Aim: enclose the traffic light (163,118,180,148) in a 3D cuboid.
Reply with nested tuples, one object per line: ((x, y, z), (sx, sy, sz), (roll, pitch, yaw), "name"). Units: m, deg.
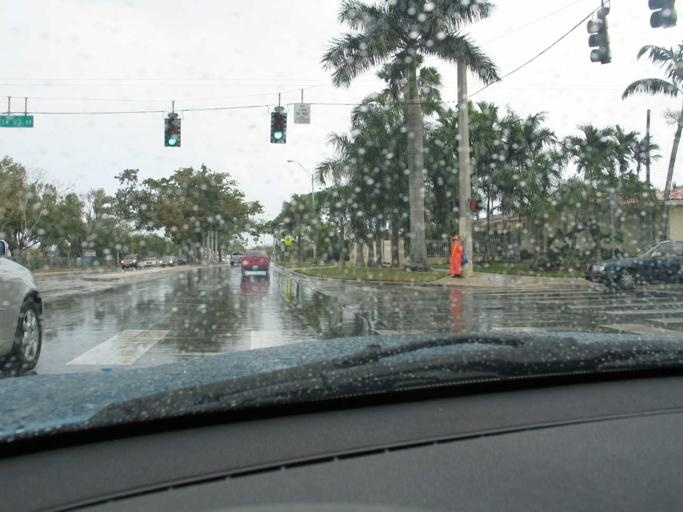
((-5.787, -4.244, 22.739), (0.477, 0.926, 0.449), (-3, -1, -10), "traffic light")

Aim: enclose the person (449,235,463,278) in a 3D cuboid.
((4.207, 0.043, 23.976), (0.379, 1.456, 0.897), (-3, -1, 1), "person")

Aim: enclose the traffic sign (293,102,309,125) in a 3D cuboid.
((-1.498, -5.450, 25.287), (0.588, 0.782, 0.395), (-3, -1, -20), "traffic sign")

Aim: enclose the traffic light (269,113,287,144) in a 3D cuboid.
((-2.091, -4.279, 22.057), (0.509, 0.995, 0.305), (-3, 0, -17), "traffic light")
